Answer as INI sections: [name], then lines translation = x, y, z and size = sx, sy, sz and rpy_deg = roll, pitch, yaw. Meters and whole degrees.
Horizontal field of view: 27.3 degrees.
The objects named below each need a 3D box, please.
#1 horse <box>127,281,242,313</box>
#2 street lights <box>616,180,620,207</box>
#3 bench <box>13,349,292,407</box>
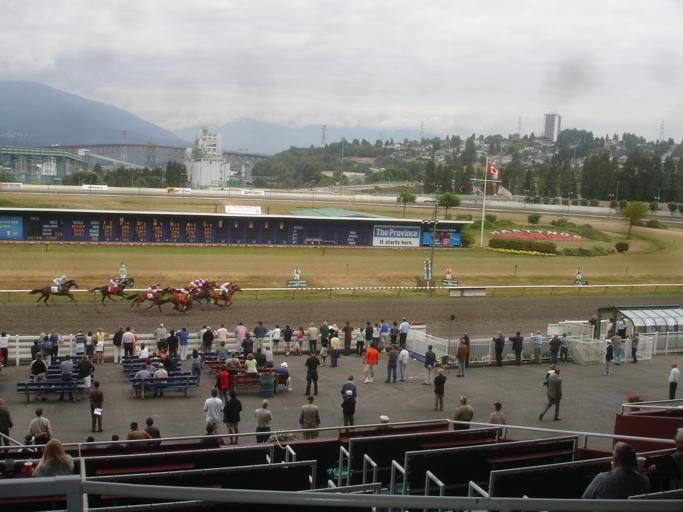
[horse]
translation = -10.614, 2.795, 93.854
size = 6.087, 0.982, 3.966
rpy_deg = 4, 7, -43
[street lights]
translation = 35.949, -8.577, 183.202
size = 0.451, 2.340, 0.717
rpy_deg = 6, 14, 13
[bench]
translation = -11.363, 8.490, 82.317
size = 13.255, 1.994, 2.810
rpy_deg = 0, 32, -11
